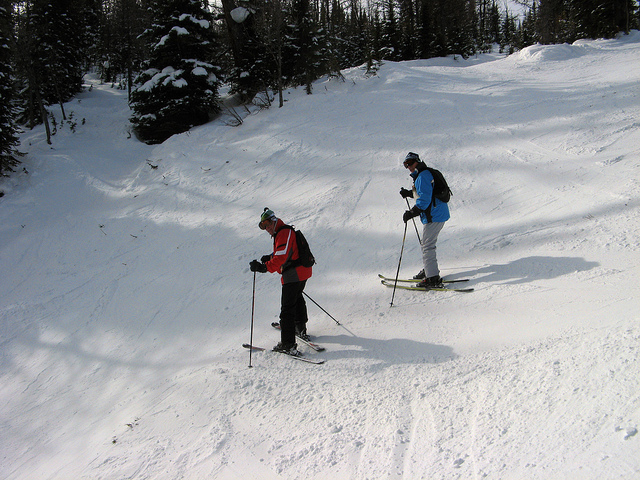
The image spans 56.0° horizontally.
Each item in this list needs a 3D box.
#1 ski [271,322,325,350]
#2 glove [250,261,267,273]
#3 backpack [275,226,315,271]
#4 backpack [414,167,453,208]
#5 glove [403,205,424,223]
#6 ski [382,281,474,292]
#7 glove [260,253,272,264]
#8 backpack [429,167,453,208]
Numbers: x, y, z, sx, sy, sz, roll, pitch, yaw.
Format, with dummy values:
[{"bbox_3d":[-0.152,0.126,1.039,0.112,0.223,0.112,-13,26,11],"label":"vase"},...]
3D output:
[{"bbox_3d":[-0.514,2.377,14.654,1.318,0.194,0.212,26,41,35],"label":"ski"},{"bbox_3d":[-1.468,0.639,14.401,0.376,0.282,0.332,-9,19,-8],"label":"glove"},{"bbox_3d":[-0.593,0.217,14.305,0.813,1.088,0.411,-9,19,-7],"label":"backpack"},{"bbox_3d":[2.883,-1.318,15.178,0.759,0.963,0.448,-7,19,-4],"label":"backpack"},{"bbox_3d":[2.326,-0.624,15.030,0.431,0.242,0.433,-44,-7,9],"label":"glove"},{"bbox_3d":[2.858,1.205,15.404,2.577,0.267,0.274,-1,-4,32],"label":"ski"},{"bbox_3d":[-1.255,0.448,14.394,0.218,0.168,0.317,-2,19,11],"label":"glove"},{"bbox_3d":[3.047,-1.347,15.222,0.497,0.925,0.594,-3,19,9],"label":"backpack"}]
